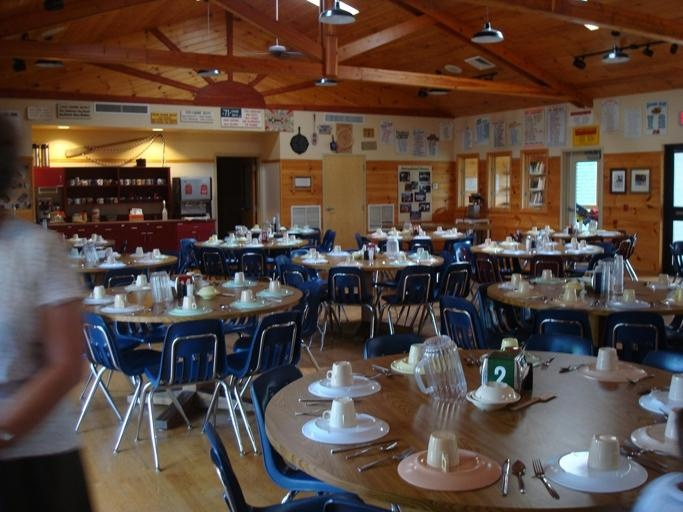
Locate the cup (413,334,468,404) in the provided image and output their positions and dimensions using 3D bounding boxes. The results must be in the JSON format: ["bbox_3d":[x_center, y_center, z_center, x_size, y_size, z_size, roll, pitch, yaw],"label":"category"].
[{"bbox_3d":[0.429,0.513,2.466,0.316,0.326,0.213,-7,7,-17],"label":"cup"}]

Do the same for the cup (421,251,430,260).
[{"bbox_3d":[1.145,-0.008,7.013,0.106,0.105,0.108,1,-3,0],"label":"cup"}]

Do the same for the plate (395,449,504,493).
[{"bbox_3d":[0.368,0.722,1.737,0.351,0.029,0.223,-1,7,-2],"label":"plate"}]

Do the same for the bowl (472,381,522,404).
[{"bbox_3d":[0.679,0.599,2.245,0.120,0.036,0.122,-2,4,0],"label":"bowl"}]

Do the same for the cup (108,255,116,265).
[{"bbox_3d":[-3.008,0.052,6.725,0.117,0.115,0.120,-1,-3,0],"label":"cup"}]

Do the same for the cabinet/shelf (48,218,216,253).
[{"bbox_3d":[-4.979,-0.450,13.113,3.740,0.842,0.596,-1,-3,8],"label":"cabinet/shelf"}]

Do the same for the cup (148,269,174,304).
[{"bbox_3d":[-1.598,0.319,4.539,0.208,0.302,0.209,-13,-28,-7],"label":"cup"}]

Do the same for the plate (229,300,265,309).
[{"bbox_3d":[-0.776,0.403,4.249,0.286,0.029,0.211,-2,7,-11],"label":"plate"}]

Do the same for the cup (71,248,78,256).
[{"bbox_3d":[-3.897,-0.055,7.496,0.131,0.128,0.132,2,1,0],"label":"cup"}]

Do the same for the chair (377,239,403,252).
[{"bbox_3d":[0.843,-0.179,9.226,0.315,0.230,0.320,1,-7,5],"label":"chair"}]

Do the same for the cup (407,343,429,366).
[{"bbox_3d":[0.403,0.514,2.763,0.115,0.114,0.118,2,-2,0],"label":"cup"}]

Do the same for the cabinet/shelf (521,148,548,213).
[{"bbox_3d":[5.121,-2.011,13.611,0.294,1.558,0.696,-6,9,-33],"label":"cabinet/shelf"}]

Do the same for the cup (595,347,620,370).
[{"bbox_3d":[1.373,0.526,2.653,0.092,0.088,0.119,-2,-3,11],"label":"cup"}]

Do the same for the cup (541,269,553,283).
[{"bbox_3d":[2.127,0.208,5.280,0.146,0.149,0.159,0,-1,0],"label":"cup"}]

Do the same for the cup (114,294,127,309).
[{"bbox_3d":[-1.797,0.376,4.202,0.106,0.104,0.108,1,-3,0],"label":"cup"}]

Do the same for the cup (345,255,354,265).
[{"bbox_3d":[0.114,0.054,6.670,0.116,0.127,0.115,0,-3,0],"label":"cup"}]

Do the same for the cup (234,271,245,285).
[{"bbox_3d":[-1.024,0.223,5.178,0.122,0.122,0.123,0,2,0],"label":"cup"}]

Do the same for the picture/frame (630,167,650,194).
[{"bbox_3d":[6.707,-1.696,11.504,0.049,0.677,0.561,-1,4,-38],"label":"picture/frame"}]

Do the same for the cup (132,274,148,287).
[{"bbox_3d":[-1.980,0.241,5.042,0.125,0.133,0.131,1,10,0],"label":"cup"}]

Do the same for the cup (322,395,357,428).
[{"bbox_3d":[0.006,0.647,2.113,0.082,0.087,0.128,1,-9,-12],"label":"cup"}]

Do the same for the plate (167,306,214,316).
[{"bbox_3d":[-1.209,0.432,4.092,0.358,0.034,0.275,-1,7,-1],"label":"plate"}]

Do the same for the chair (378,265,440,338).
[{"bbox_3d":[0.790,0.551,6.471,0.671,1.003,0.695,-3,10,-23],"label":"chair"}]

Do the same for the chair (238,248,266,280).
[{"bbox_3d":[-1.411,0.149,8.246,0.384,0.542,0.443,2,5,3],"label":"chair"}]

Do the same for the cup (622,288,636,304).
[{"bbox_3d":[2.349,0.333,4.174,0.105,0.111,0.114,0,-1,0],"label":"cup"}]

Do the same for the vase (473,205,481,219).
[{"bbox_3d":[3.695,-1.184,13.957,0.113,0.371,0.278,5,10,36],"label":"vase"}]

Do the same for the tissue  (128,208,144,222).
[{"bbox_3d":[-5.197,-1.022,13.069,0.385,0.405,0.394,-1,5,-16],"label":"tissue "}]

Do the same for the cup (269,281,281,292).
[{"bbox_3d":[-0.624,0.286,4.850,0.094,0.092,0.097,0,-2,0],"label":"cup"}]

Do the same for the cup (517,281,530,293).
[{"bbox_3d":[1.621,0.276,4.584,0.095,0.089,0.096,0,-3,0],"label":"cup"}]

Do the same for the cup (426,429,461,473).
[{"bbox_3d":[0.351,0.666,1.747,0.104,0.105,0.165,-2,9,2],"label":"cup"}]

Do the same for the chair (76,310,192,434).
[{"bbox_3d":[-1.719,0.877,4.206,0.677,0.976,0.723,3,6,33],"label":"chair"}]

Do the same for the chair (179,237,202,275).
[{"bbox_3d":[-2.692,0.026,9.063,0.318,0.603,1.153,-3,8,-17],"label":"chair"}]

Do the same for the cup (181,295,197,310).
[{"bbox_3d":[-1.220,0.372,4.121,0.103,0.099,0.104,0,-1,0],"label":"cup"}]

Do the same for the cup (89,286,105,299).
[{"bbox_3d":[-2.192,0.318,4.586,0.126,0.119,0.091,-1,2,0],"label":"cup"}]

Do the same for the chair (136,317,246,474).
[{"bbox_3d":[-1.192,0.961,3.927,0.658,1.011,0.683,-2,2,-31],"label":"chair"}]

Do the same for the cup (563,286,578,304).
[{"bbox_3d":[1.880,0.326,4.258,0.119,0.123,0.131,0,-1,0],"label":"cup"}]

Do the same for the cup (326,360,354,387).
[{"bbox_3d":[-0.002,0.590,2.583,0.093,0.097,0.129,0,-1,-12],"label":"cup"}]

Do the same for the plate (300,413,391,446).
[{"bbox_3d":[0.015,0.702,2.155,0.386,0.024,0.382,-1,-1,-27],"label":"plate"}]

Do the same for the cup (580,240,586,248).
[{"bbox_3d":[3.820,-0.190,8.138,0.132,0.126,0.127,-1,1,0],"label":"cup"}]

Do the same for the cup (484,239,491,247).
[{"bbox_3d":[2.421,-0.222,8.429,0.127,0.136,0.139,0,-4,0],"label":"cup"}]

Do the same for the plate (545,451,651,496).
[{"bbox_3d":[0.859,0.714,1.736,0.313,0.028,0.313,-6,-1,-16],"label":"plate"}]

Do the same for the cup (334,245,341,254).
[{"bbox_3d":[-0.058,-0.093,7.657,0.123,0.134,0.119,-2,6,0],"label":"cup"}]

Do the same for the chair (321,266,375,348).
[{"bbox_3d":[0.147,0.545,6.600,0.719,1.061,0.770,5,18,20],"label":"chair"}]

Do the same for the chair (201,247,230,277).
[{"bbox_3d":[-2.061,0.113,8.486,0.457,0.544,0.434,0,12,-11],"label":"chair"}]

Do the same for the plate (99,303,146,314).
[{"bbox_3d":[-1.782,0.415,4.187,0.375,0.038,0.300,0,7,3],"label":"plate"}]

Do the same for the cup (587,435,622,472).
[{"bbox_3d":[0.871,0.644,1.710,0.101,0.100,0.102,-2,6,0],"label":"cup"}]

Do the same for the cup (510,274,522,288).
[{"bbox_3d":[1.610,0.229,4.777,0.109,0.115,0.123,0,1,7],"label":"cup"}]
